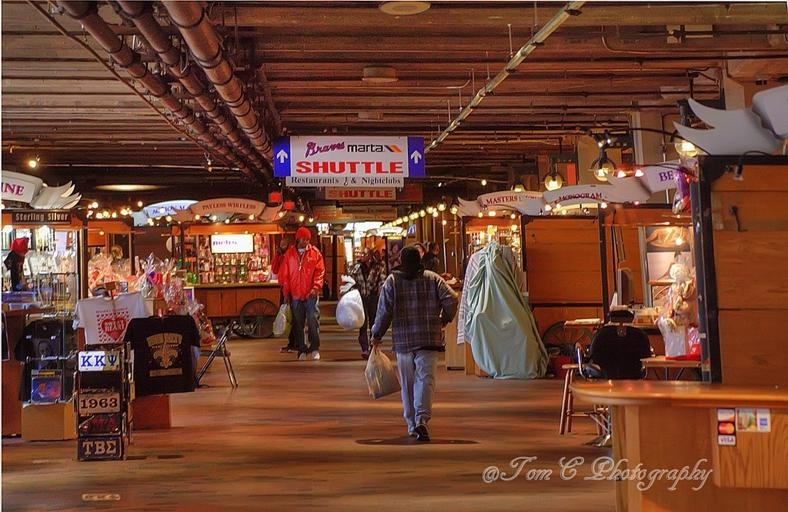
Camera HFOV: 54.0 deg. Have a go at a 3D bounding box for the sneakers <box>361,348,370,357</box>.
[{"bbox_3d":[-0.519,1.713,13.609,0.176,0.195,0.227,0,-20,1],"label":"sneakers"}]

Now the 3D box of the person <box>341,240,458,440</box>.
[{"bbox_3d":[0.208,0.890,8.167,0.928,2.021,0.407,-2,-4,2],"label":"person"}]

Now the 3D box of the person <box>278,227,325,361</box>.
[{"bbox_3d":[-1.647,0.657,13.646,0.760,2.302,0.463,-2,-4,2],"label":"person"}]

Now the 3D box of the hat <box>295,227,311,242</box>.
[{"bbox_3d":[-1.636,-0.387,13.814,0.204,0.209,0.270,3,-14,-11],"label":"hat"}]

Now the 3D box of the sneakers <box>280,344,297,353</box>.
[{"bbox_3d":[-2.015,1.764,14.718,0.338,0.224,0.126,5,-15,-14],"label":"sneakers"}]

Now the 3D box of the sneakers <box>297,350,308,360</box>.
[{"bbox_3d":[-1.609,1.731,13.395,0.176,0.125,0.271,-1,-4,-8],"label":"sneakers"}]

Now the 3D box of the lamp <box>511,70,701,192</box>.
[{"bbox_3d":[4.553,-2.129,13.922,4.593,1.822,0.949,-3,3,23],"label":"lamp"}]

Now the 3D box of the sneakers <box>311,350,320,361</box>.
[{"bbox_3d":[-1.396,1.739,13.487,0.148,0.140,0.148,3,-8,4],"label":"sneakers"}]

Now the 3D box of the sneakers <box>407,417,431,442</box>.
[{"bbox_3d":[0.252,1.782,7.923,0.128,0.126,0.294,1,-35,3],"label":"sneakers"}]
